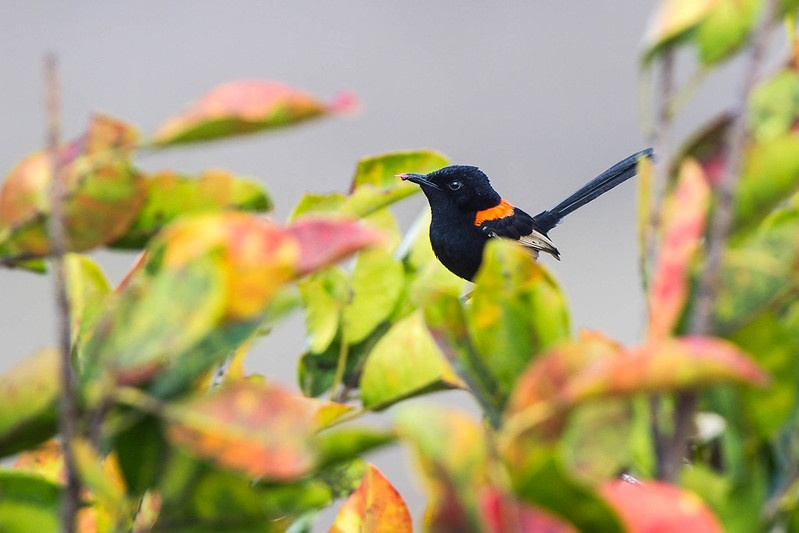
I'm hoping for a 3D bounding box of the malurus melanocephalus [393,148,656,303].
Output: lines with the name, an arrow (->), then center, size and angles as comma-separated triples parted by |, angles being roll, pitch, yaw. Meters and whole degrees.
malurus melanocephalus -> 0.195, -0.051, 1.710 | 0.389, 0.255, 0.135 | -1, 12, -17
